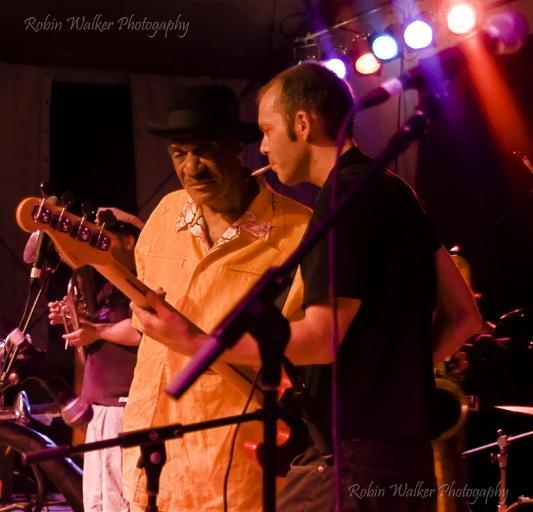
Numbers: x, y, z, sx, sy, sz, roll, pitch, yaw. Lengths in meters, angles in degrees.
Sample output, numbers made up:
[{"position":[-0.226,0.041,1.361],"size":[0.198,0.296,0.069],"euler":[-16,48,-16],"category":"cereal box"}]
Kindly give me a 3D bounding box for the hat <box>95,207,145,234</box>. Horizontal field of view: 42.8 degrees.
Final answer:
[{"position":[-0.811,-0.191,3.812],"size":[0.357,0.170,0.055],"euler":[3,7,22],"category":"hat"}]

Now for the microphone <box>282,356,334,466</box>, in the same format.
[{"position":[0.098,0.411,1.810],"size":[0.080,0.237,0.253],"euler":[-8,-17,22],"category":"microphone"}]

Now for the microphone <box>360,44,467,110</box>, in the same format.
[{"position":[0.379,-0.466,1.800],"size":[0.289,0.166,0.069],"euler":[-5,-15,8],"category":"microphone"}]

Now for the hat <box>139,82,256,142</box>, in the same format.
[{"position":[-0.244,-0.596,2.817],"size":[0.475,0.223,0.528],"euler":[6,4,-11],"category":"hat"}]
